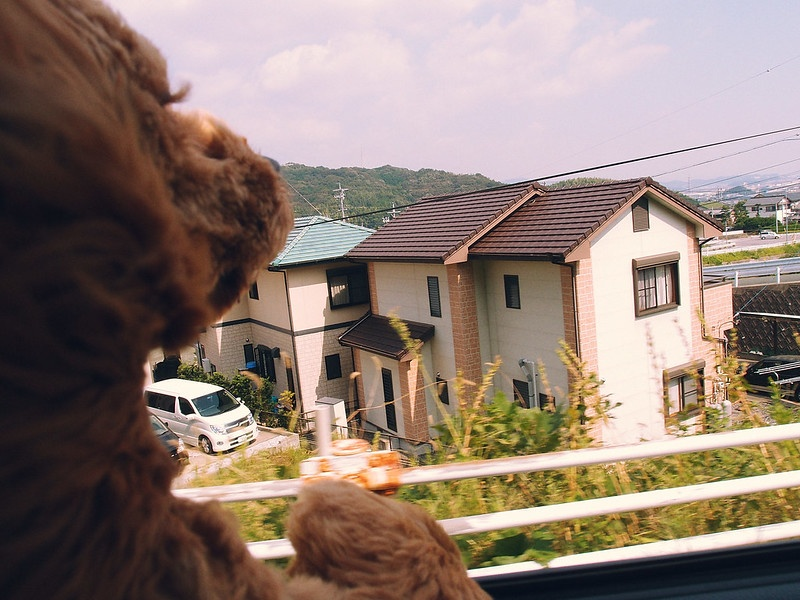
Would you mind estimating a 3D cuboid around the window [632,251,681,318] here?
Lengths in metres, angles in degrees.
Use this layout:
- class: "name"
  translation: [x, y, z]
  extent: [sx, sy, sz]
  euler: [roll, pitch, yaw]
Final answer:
- class: "window"
  translation: [3.395, -0.225, 9.292]
  extent: [1.072, 0.844, 0.241]
  euler: [0, -4, -45]

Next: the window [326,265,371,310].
- class: "window"
  translation: [-1.030, -0.271, 13.342]
  extent: [0.882, 0.676, 0.060]
  euler: [-3, 1, -44]
